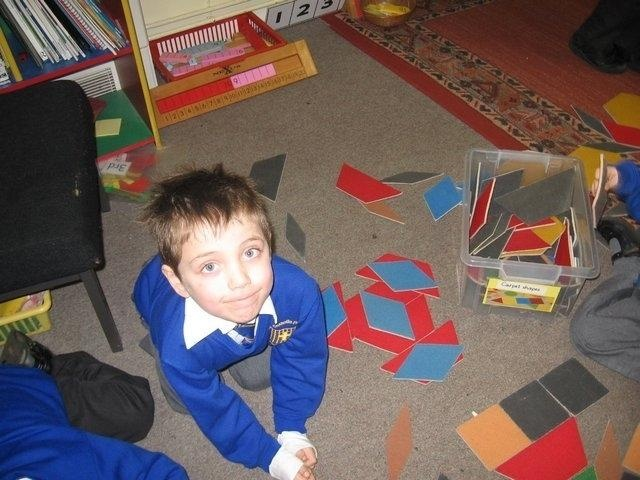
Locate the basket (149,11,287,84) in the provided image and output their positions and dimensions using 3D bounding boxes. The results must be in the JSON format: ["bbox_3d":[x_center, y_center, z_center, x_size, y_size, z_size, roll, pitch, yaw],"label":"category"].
[{"bbox_3d":[-0.530,-0.963,2.691,0.623,0.125,0.341,-26,65,-16],"label":"basket"}]

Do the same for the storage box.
[{"bbox_3d":[0.753,-0.040,1.985,0.541,0.332,0.646,5,84,9],"label":"storage box"}]
